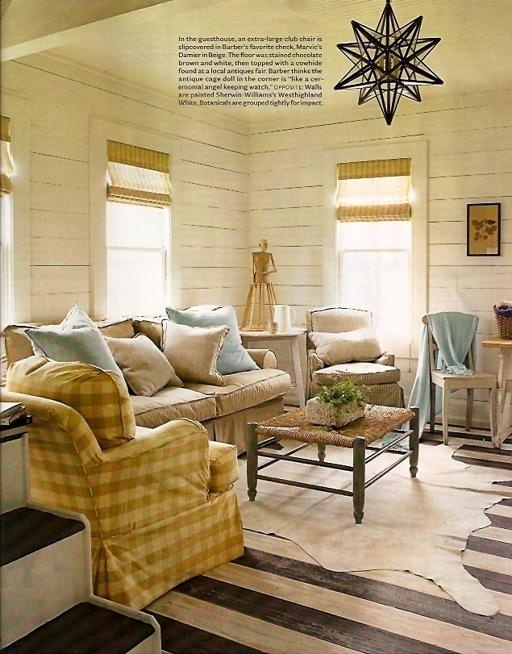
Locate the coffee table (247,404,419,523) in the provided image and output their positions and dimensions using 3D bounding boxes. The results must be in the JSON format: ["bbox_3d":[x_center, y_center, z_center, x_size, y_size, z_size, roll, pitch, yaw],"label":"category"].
[{"bbox_3d":[0.391,0.652,3.001,0.594,0.382,0.805,0,2,29],"label":"coffee table"}]

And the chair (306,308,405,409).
[{"bbox_3d":[0.813,0.242,4.705,0.814,0.977,0.878,1,-6,-11],"label":"chair"}]

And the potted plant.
[{"bbox_3d":[0.463,0.438,3.078,0.227,0.220,0.393,2,4,34],"label":"potted plant"}]

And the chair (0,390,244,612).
[{"bbox_3d":[-0.582,0.618,2.332,0.728,0.763,0.909,2,6,37],"label":"chair"}]

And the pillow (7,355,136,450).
[{"bbox_3d":[-0.748,0.290,2.020,0.536,0.307,0.274,1,4,26],"label":"pillow"}]

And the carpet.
[{"bbox_3d":[0.738,0.986,2.900,1.353,0.024,1.608,2,3,34],"label":"carpet"}]
